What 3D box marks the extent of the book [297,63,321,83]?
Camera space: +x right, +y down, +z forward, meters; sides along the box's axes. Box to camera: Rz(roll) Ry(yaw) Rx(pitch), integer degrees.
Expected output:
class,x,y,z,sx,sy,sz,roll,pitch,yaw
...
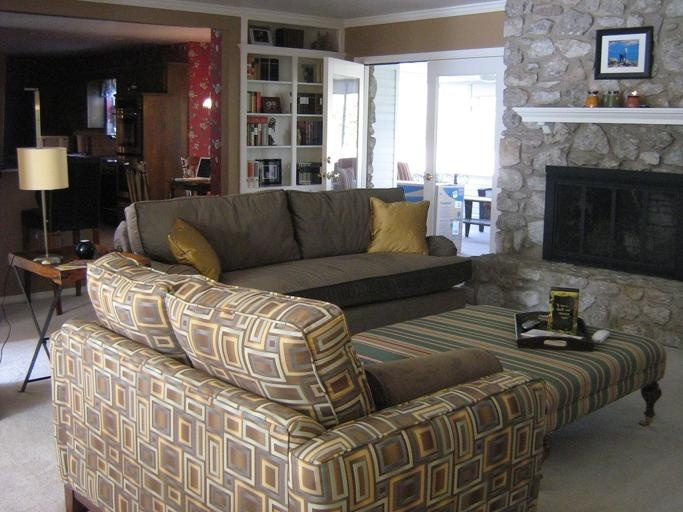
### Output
class,x,y,z,sx,sy,sz,roll,pitch,yaw
book,-0.461,-2.498,6.900,0.325,0.267,0.158,-1,18,-12

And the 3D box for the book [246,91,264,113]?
class,x,y,z,sx,sy,sz,roll,pitch,yaw
book,-1.111,-1.982,6.710,0.271,0.317,0.334,1,7,1

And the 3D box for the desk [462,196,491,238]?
class,x,y,z,sx,sy,sz,roll,pitch,yaw
desk,2.310,-0.686,8.717,0.691,0.624,0.645,1,5,3

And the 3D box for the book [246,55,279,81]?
class,x,y,z,sx,sy,sz,roll,pitch,yaw
book,-1.057,-2.466,6.646,0.444,0.368,0.222,-3,4,-36

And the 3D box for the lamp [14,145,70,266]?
class,x,y,z,sx,sy,sz,roll,pitch,yaw
lamp,-2.157,-0.370,3.764,0.340,0.856,1.225,-7,15,-31

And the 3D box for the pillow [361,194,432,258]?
class,x,y,z,sx,sy,sz,roll,pitch,yaw
pillow,0.508,-0.274,4.631,0.605,0.487,0.195,2,6,-11

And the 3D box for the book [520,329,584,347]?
class,x,y,z,sx,sy,sz,roll,pitch,yaw
book,1.122,0.437,2.731,0.157,0.032,0.146,4,8,37

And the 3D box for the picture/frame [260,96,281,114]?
class,x,y,z,sx,sy,sz,roll,pitch,yaw
picture/frame,-0.965,-2.008,6.748,0.279,0.229,0.141,-4,7,-28

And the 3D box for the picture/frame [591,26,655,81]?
class,x,y,z,sx,sy,sz,roll,pitch,yaw
picture/frame,2.516,-1.811,4.524,0.047,0.501,0.595,-11,14,-42

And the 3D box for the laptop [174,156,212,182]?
class,x,y,z,sx,sy,sz,roll,pitch,yaw
laptop,-2.437,-1.428,8.356,0.768,0.465,0.460,12,9,43

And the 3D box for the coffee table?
class,x,y,z,sx,sy,sz,roll,pitch,yaw
coffee table,0.993,0.524,2.669,1.034,0.341,1.011,10,17,41

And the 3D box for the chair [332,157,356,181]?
class,x,y,z,sx,sy,sz,roll,pitch,yaw
chair,0.053,-1.236,7.143,0.311,0.300,0.295,-5,14,-29

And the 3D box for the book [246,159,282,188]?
class,x,y,z,sx,sy,sz,roll,pitch,yaw
book,-1.055,-1.100,6.787,0.480,0.378,0.102,-4,11,-36

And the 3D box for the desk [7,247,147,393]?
class,x,y,z,sx,sy,sz,roll,pitch,yaw
desk,-1.428,0.335,2.665,0.654,0.785,0.848,-5,13,-36

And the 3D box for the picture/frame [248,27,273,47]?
class,x,y,z,sx,sy,sz,roll,pitch,yaw
picture/frame,-1.077,-2.860,6.619,0.392,0.240,0.013,-13,4,-44

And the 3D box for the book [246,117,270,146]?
class,x,y,z,sx,sy,sz,roll,pitch,yaw
book,-1.077,-1.643,6.823,0.376,0.423,0.464,-1,13,-9
